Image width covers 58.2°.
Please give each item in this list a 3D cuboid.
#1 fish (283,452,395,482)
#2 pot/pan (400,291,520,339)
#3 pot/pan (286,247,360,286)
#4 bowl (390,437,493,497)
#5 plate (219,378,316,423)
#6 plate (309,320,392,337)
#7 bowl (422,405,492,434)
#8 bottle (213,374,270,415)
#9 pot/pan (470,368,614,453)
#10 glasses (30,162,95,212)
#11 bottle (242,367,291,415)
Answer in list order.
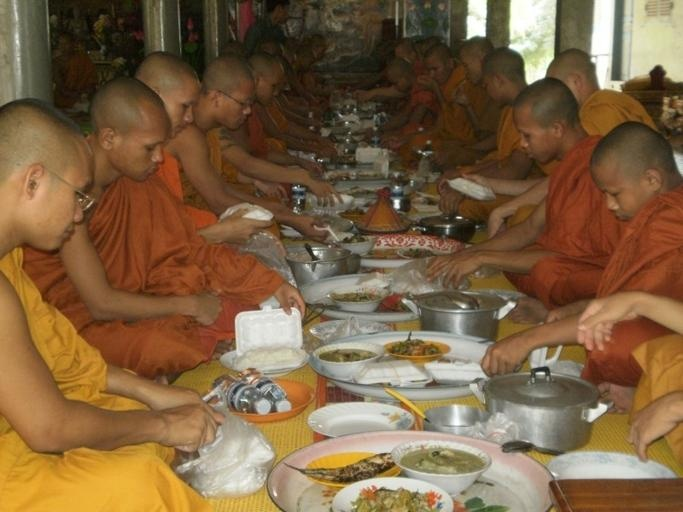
[{"bbox_3d":[-0.009,0.520,1.505,0.293,0.078,0.062,-2,-1,-12],"label":"fish"},{"bbox_3d":[0.411,0.238,2.330,0.509,0.190,0.293,-2,7,-11],"label":"pot/pan"},{"bbox_3d":[-0.078,0.041,2.977,0.303,0.091,0.223,-3,14,-14],"label":"pot/pan"},{"bbox_3d":[0.228,0.512,1.490,0.224,0.066,0.211,1,3,0],"label":"bowl"},{"bbox_3d":[-0.229,0.477,1.913,0.245,0.041,0.236,-6,5,-40],"label":"plate"},{"bbox_3d":[0.054,0.279,2.366,0.160,0.021,0.143,-5,5,-28],"label":"plate"},{"bbox_3d":[0.316,0.458,1.721,0.105,0.026,0.092,2,9,18],"label":"bowl"},{"bbox_3d":[-0.297,0.416,1.825,0.050,0.042,0.094,-36,41,-28],"label":"bottle"},{"bbox_3d":[0.538,0.398,1.694,0.350,0.145,0.244,9,17,29],"label":"pot/pan"},{"bbox_3d":[-0.686,-0.166,1.519,0.096,0.024,0.088,32,1,4],"label":"glasses"},{"bbox_3d":[-0.267,0.421,1.882,0.088,0.085,0.246,-1,10,-22],"label":"bottle"}]
